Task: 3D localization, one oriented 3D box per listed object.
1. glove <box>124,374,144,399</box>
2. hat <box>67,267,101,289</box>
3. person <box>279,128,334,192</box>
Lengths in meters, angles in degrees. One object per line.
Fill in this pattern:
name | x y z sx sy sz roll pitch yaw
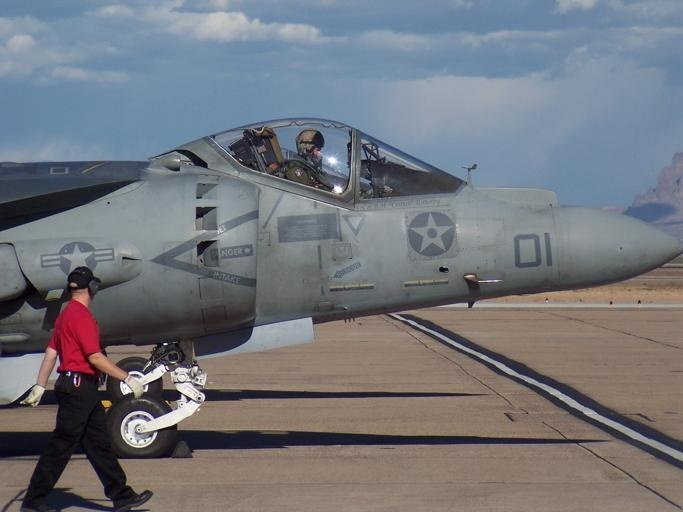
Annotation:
glove | -2.235 1.422 9.296 0.271 0.284 0.116 17 39 23
hat | -2.799 0.236 9.182 0.252 0.140 0.315 2 10 17
person | -0.465 -1.354 11.726 0.707 0.800 0.958 5 6 7
